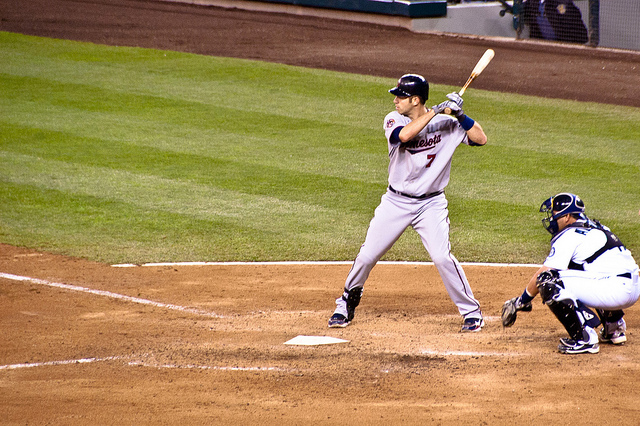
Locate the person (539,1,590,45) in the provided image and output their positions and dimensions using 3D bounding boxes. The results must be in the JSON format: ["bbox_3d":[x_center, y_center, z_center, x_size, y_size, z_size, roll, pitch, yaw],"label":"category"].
[{"bbox_3d":[6.480,-5.041,32.810,0.543,1.031,1.414,-9,20,-40],"label":"person"}]

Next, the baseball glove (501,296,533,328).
[{"bbox_3d":[3.115,1.488,19.534,0.254,0.313,0.683,34,49,11],"label":"baseball glove"}]
